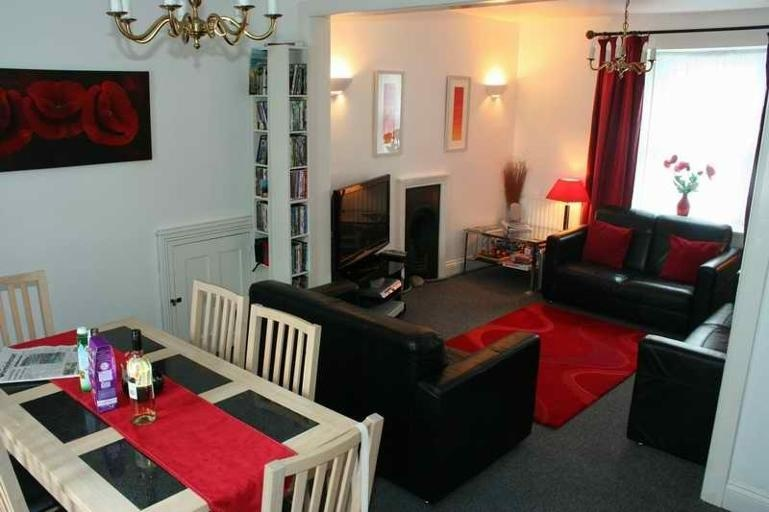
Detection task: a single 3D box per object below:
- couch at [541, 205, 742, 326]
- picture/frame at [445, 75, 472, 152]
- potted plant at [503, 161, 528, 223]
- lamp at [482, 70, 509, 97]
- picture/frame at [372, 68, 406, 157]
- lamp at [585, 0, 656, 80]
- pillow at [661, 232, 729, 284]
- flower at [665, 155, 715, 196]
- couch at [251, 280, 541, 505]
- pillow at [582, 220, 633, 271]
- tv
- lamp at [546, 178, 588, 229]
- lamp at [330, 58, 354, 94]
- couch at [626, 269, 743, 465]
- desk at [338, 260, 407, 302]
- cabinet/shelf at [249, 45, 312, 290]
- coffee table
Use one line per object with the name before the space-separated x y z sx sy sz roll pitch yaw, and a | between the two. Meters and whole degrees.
couch | 2.987 0.132 6.529 1.031 1.150 1.881 -16 22 -37
picture/frame | 0.957 -1.873 7.285 0.050 0.968 0.521 14 21 37
potted plant | 1.866 -0.950 7.967 0.350 0.825 0.540 4 18 17
lamp | 1.515 -2.372 7.564 0.341 0.280 0.385 0 11 7
picture/frame | 0.057 -1.671 6.509 0.020 0.990 0.547 -11 19 -39
lamp | 2.616 -2.420 6.191 0.637 0.779 2.065 5 18 19
pillow | 3.353 0.047 6.155 0.527 0.534 0.230 15 -5 39
flower | 3.745 -0.877 6.690 0.478 0.415 0.466 8 -16 -1
couch | -0.018 0.816 4.609 1.273 1.175 2.204 -15 19 -41
pillow | 2.687 -0.127 6.676 0.536 0.537 0.203 16 3 37
tv | -0.264 -0.354 6.051 0.136 0.845 1.181 2 13 27
lamp | 2.408 -0.565 7.333 0.435 0.865 0.470 7 11 12
lamp | -0.479 -1.943 6.039 0.383 0.264 0.377 -3 13 -7
couch | 2.453 0.912 4.499 0.419 0.480 1.340 18 33 38
desk | -0.096 0.312 6.169 0.609 0.537 0.575 -23 19 -38
cabinet/shelf | -1.014 -0.837 5.405 0.590 2.319 0.534 11 22 35
coffee table | 1.642 -0.076 7.492 1.157 0.643 0.961 15 23 40
